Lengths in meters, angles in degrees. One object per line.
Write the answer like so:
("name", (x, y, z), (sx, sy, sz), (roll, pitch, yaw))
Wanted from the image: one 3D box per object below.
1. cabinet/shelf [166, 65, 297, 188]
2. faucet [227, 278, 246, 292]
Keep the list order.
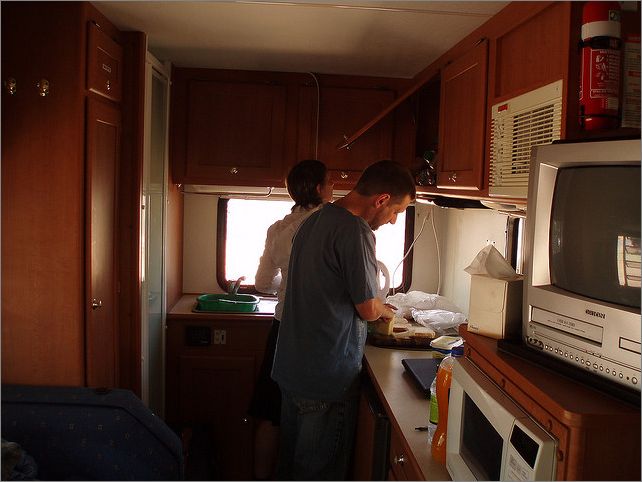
("cabinet/shelf", (-0.502, -0.544, 3.184), (0.933, 0.990, 0.556), (1, -3, -3))
("faucet", (-0.541, 0.281, 3.228), (0.098, 0.126, 0.235), (0, 4, -11))
